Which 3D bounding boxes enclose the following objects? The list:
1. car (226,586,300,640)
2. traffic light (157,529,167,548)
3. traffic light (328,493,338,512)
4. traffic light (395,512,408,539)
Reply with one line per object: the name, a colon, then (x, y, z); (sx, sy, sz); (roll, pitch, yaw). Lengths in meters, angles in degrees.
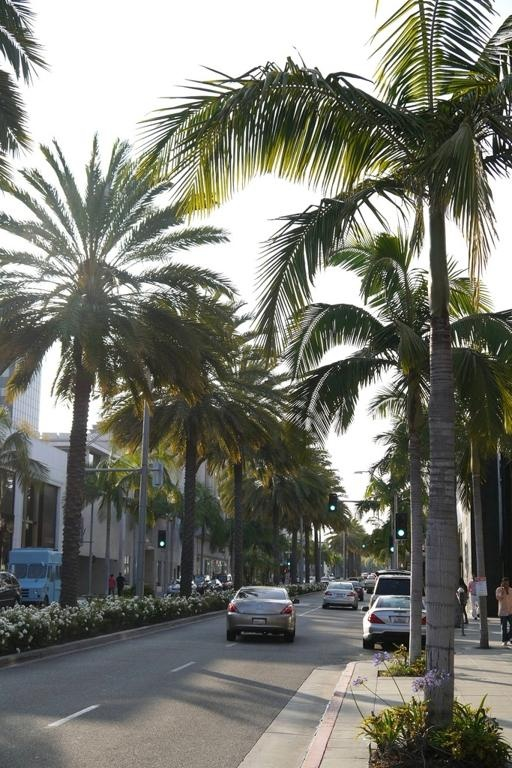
car: (0.107, 7.219, 19.412); (2.072, 1.605, 1.151); (5, -13, -6)
traffic light: (-5.059, 8.330, 33.203); (0.331, 0.799, 0.911); (2, -14, 0)
traffic light: (4.399, 6.830, 35.842); (0.514, 1.651, 0.743); (0, -11, 2)
traffic light: (6.612, 6.473, 28.543); (0.496, 1.130, 1.025); (0, -13, 7)
